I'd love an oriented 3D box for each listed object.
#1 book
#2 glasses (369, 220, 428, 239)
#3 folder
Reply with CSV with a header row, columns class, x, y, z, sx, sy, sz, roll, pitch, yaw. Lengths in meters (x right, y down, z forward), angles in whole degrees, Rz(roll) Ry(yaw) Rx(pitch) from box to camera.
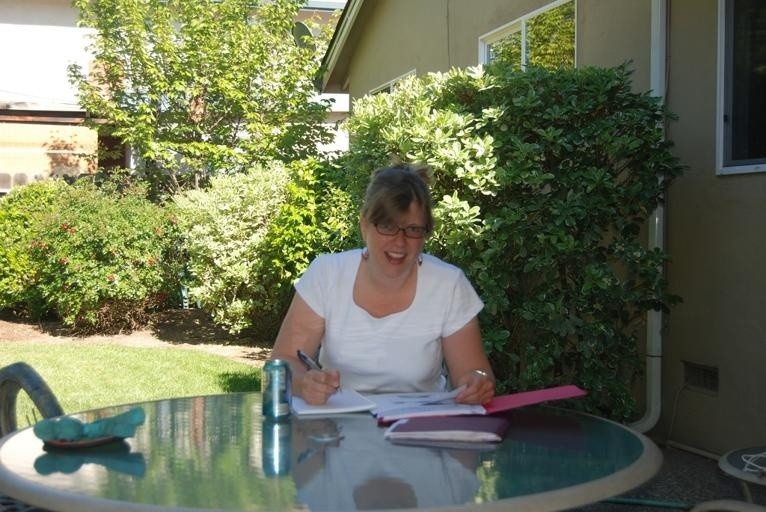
class,x,y,z,sx,sy,sz,roll,pitch,yaw
book,0.265,0.829,3.370,0.840,0.096,0.604,3,-2,1
glasses,0.107,-0.152,3.931,0.321,0.085,0.059,0,14,-3
folder,0.502,0.759,3.493,1.137,0.187,0.735,0,0,-8
